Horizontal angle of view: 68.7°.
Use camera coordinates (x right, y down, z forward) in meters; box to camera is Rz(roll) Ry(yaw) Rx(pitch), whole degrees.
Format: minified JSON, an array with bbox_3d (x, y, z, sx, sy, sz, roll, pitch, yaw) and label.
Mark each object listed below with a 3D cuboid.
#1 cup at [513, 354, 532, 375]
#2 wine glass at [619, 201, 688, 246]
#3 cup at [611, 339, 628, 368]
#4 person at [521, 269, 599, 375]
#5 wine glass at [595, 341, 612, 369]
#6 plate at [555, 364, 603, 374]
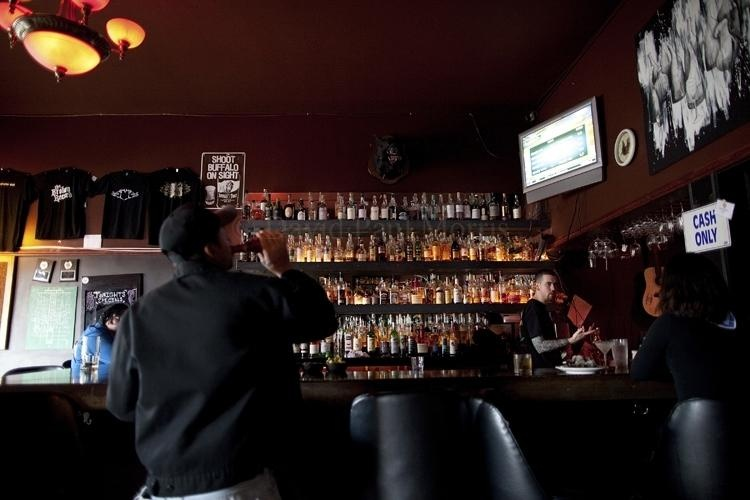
[{"bbox_3d":[1.146,0.890,4.282,0.158,0.180,0.159,0,-11,0],"label":"cup"},{"bbox_3d":[2.769,-0.237,5.424,0.339,0.125,0.522,-3,-12,-20],"label":"wine glass"},{"bbox_3d":[1.836,0.779,4.129,0.102,0.207,0.309,-5,-8,22],"label":"cup"},{"bbox_3d":[1.518,0.594,4.860,0.449,0.839,1.031,-4,-8,14],"label":"person"},{"bbox_3d":[1.823,0.828,4.396,0.119,0.218,0.648,-5,-8,21],"label":"wine glass"},{"bbox_3d":[1.481,0.862,3.972,0.318,0.048,0.398,-4,-7,18],"label":"plate"}]
